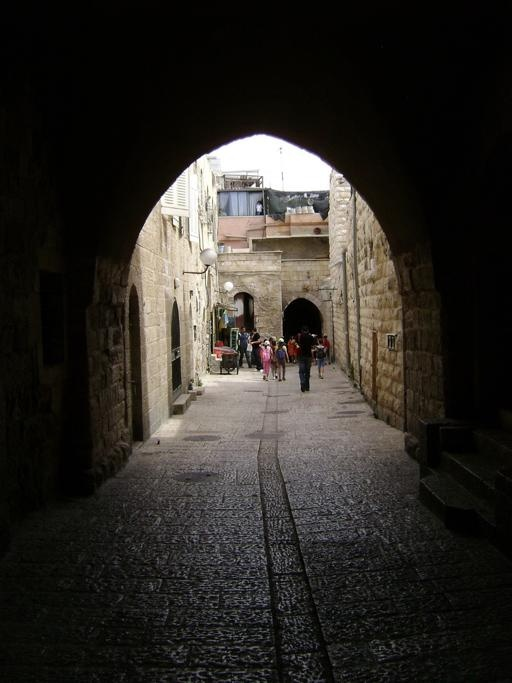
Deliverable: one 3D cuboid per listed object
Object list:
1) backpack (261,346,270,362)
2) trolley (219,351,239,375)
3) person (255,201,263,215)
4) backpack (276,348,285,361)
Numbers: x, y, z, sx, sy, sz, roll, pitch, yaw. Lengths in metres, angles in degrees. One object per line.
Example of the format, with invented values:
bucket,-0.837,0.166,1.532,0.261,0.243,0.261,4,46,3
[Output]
backpack,0.319,0.480,17.053,0.386,0.936,0.383,1,-3,-13
trolley,-1.239,0.882,19.552,0.716,1.399,0.805,1,-2,-28
person,0.244,-11.052,37.642,0.586,1.317,0.328,-2,-4,10
backpack,0.866,0.466,16.649,0.284,0.638,0.278,0,0,-7
